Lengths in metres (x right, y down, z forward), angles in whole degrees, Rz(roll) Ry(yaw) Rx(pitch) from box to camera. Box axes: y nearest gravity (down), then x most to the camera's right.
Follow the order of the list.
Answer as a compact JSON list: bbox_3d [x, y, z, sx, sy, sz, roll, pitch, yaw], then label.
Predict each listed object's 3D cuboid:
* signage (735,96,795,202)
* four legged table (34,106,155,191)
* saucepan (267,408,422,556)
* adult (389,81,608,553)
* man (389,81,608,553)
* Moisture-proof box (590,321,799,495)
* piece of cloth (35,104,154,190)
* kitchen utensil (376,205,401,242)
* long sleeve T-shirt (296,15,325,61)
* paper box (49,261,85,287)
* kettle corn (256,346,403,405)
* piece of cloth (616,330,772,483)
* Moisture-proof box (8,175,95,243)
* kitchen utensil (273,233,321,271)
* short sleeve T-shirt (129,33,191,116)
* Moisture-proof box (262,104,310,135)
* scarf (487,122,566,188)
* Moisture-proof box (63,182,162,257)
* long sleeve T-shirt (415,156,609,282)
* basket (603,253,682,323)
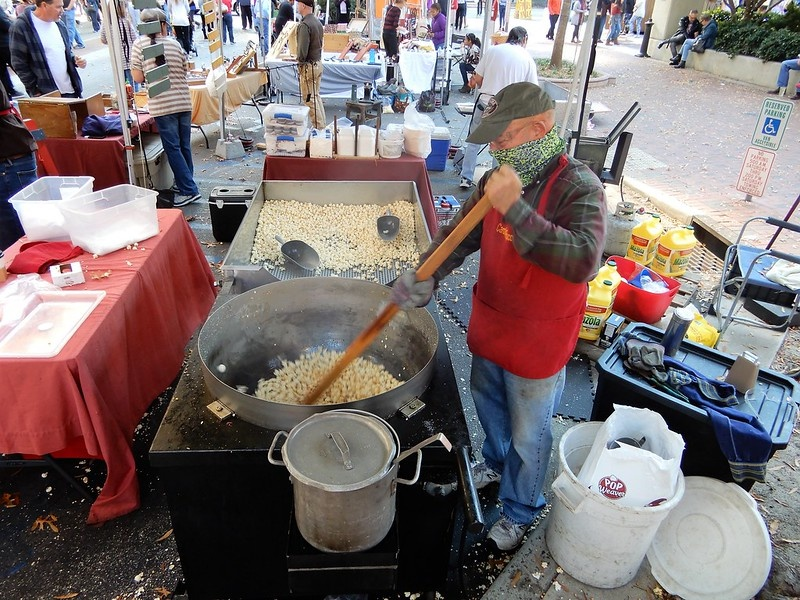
[{"bbox_3d":[3.570,-1.478,5.194,0.244,0.936,0.362,17,32,28],"label":"signage"},{"bbox_3d":[-3.186,-1.418,5.555,0.864,0.460,0.904,8,38,0],"label":"four legged table"},{"bbox_3d":[-0.251,0.744,2.147,0.568,0.419,0.448,-5,29,-14],"label":"saucepan"},{"bbox_3d":[0.560,0.175,2.830,0.842,2.431,0.993,-22,32,-36],"label":"adult"},{"bbox_3d":[0.564,0.187,2.834,0.834,2.395,0.978,-21,32,-36],"label":"man"},{"bbox_3d":[1.686,0.684,3.274,1.172,0.725,0.801,27,41,27],"label":"Moisture-proof box"},{"bbox_3d":[-3.199,-1.490,5.503,0.874,0.496,0.900,-6,31,-18],"label":"piece of cloth"},{"bbox_3d":[-0.107,-0.640,4.456,0.149,0.108,0.247,-3,70,2],"label":"kitchen utensil"},{"bbox_3d":[-1.223,-3.516,7.108,0.415,0.586,0.325,-16,32,-29],"label":"long sleeve T-shirt"},{"bbox_3d":[-2.074,-0.196,3.258,0.159,0.106,0.161,-17,38,-23],"label":"paper box"},{"bbox_3d":[-0.420,0.444,2.939,0.488,0.091,0.370,12,28,19],"label":"kettle corn"},{"bbox_3d":[1.601,0.701,3.102,0.877,0.277,0.593,32,50,21],"label":"piece of cloth"},{"bbox_3d":[-2.449,-0.651,3.822,0.438,0.347,0.620,5,36,-1],"label":"Moisture-proof box"},{"bbox_3d":[-0.775,-0.345,4.058,0.337,0.094,0.174,37,56,23],"label":"kitchen utensil"},{"bbox_3d":[-2.575,-2.408,5.759,0.621,0.873,0.310,-8,2,-21],"label":"short sleeve T-shirt"},{"bbox_3d":[-1.137,-1.776,5.242,0.411,0.257,0.355,-2,29,-6],"label":"Moisture-proof box"},{"bbox_3d":[0.605,-0.665,2.460,0.332,0.198,0.255,-38,8,8],"label":"scarf"},{"bbox_3d":[-2.012,-0.510,3.780,0.453,0.384,0.595,27,39,29],"label":"Moisture-proof box"},{"bbox_3d":[0.566,-0.329,2.500,0.754,0.617,0.470,14,30,22],"label":"long sleeve T-shirt"},{"bbox_3d":[2.031,-0.078,4.464,0.510,0.365,0.479,24,35,35],"label":"basket"}]
